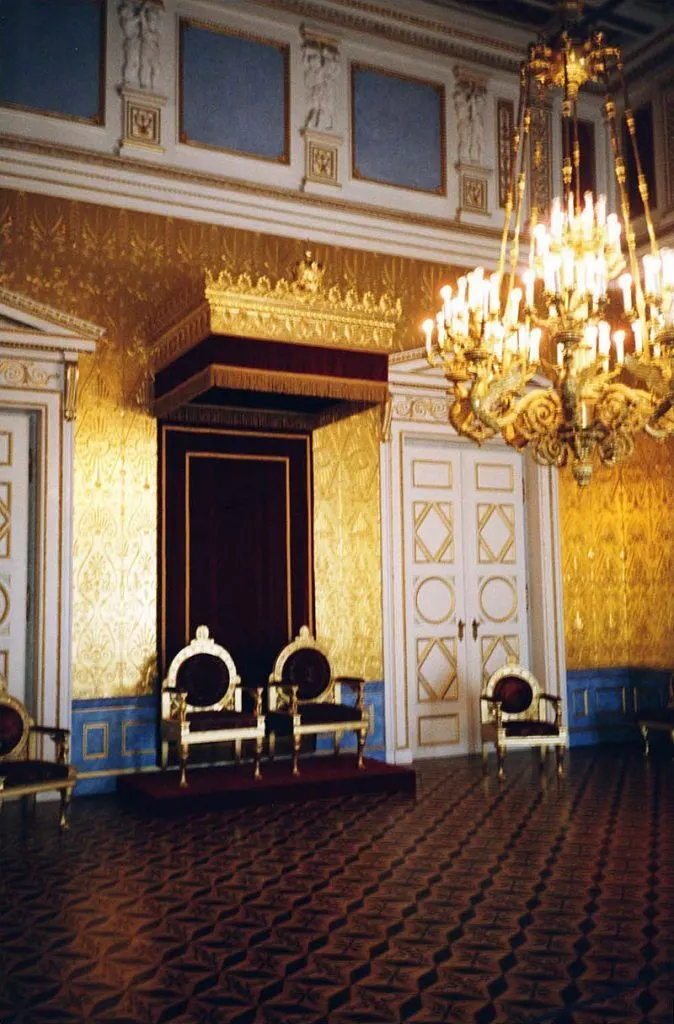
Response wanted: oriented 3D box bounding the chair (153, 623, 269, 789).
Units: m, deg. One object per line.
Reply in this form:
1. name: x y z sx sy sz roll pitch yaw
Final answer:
1. chair: -0.735 1.146 5.624 0.681 0.879 0.874 2 -7 -17

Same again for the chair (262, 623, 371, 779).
1. chair: -0.112 1.191 6.010 0.704 0.870 0.864 2 -7 -16

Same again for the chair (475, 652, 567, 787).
1. chair: 1.316 1.429 6.185 0.571 1.221 0.672 3 -13 -12
